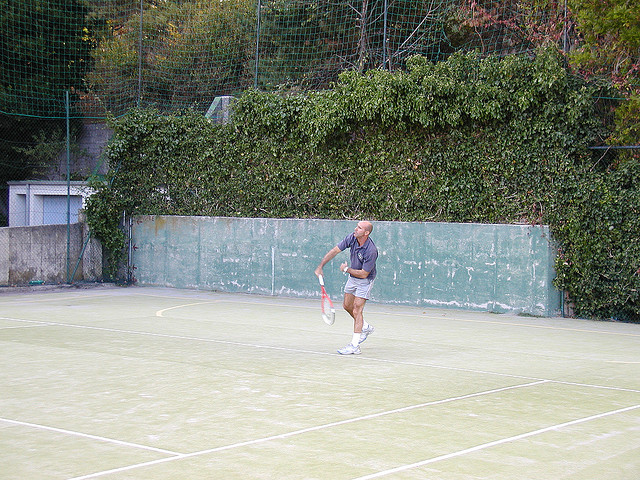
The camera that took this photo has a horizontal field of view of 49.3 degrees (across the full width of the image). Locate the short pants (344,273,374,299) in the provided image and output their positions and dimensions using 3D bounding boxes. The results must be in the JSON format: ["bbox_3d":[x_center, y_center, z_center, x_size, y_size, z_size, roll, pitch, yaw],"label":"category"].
[{"bbox_3d":[0.745,0.728,12.767,0.524,0.557,0.347,8,-13,36],"label":"short pants"}]

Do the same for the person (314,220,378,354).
[{"bbox_3d":[0.586,0.854,12.563,0.904,2.396,0.667,-2,4,-40],"label":"person"}]
